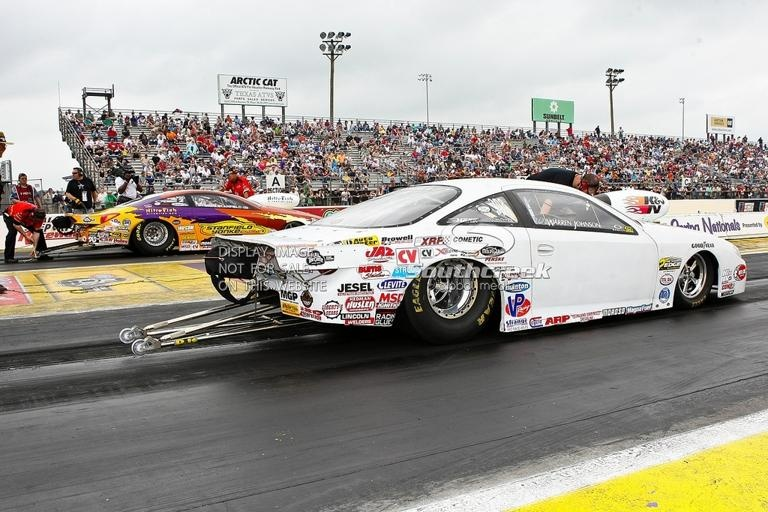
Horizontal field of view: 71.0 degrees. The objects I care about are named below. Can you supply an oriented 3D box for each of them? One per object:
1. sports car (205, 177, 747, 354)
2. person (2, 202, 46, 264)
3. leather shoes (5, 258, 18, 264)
[{"bbox_3d":[1.094,0.026,5.414,5.454,1.562,0.661,-4,12,-19],"label":"sports car"},{"bbox_3d":[-8.030,-0.631,12.041,1.076,1.198,1.517,-2,3,-43],"label":"person"},{"bbox_3d":[-7.861,0.090,11.367,0.302,0.113,0.111,-1,0,8],"label":"leather shoes"}]
